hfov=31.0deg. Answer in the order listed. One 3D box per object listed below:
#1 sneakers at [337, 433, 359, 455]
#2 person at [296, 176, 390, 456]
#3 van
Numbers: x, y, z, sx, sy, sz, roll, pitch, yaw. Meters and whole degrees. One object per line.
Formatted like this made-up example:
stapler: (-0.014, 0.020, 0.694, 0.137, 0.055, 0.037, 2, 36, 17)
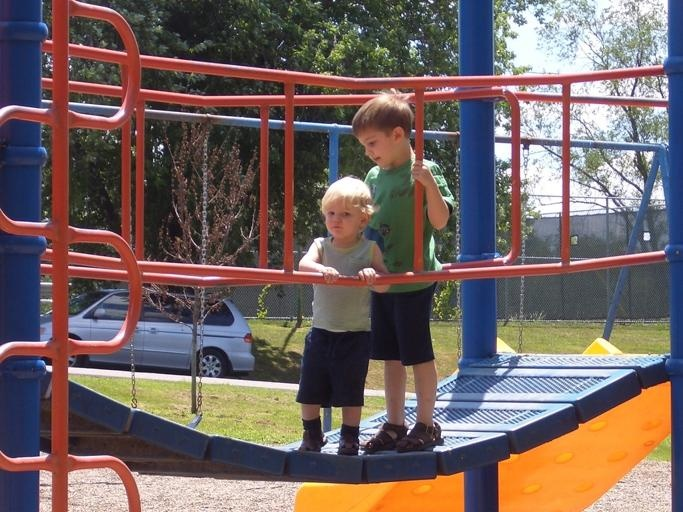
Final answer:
sneakers: (0.059, 1.358, 8.905, 0.164, 0.127, 0.171, 3, 2, -5)
person: (-0.002, 0.412, 9.006, 0.631, 2.017, 0.478, 2, 2, -1)
van: (-2.704, 0.817, 17.507, 2.794, 1.282, 1.406, 5, -9, -12)
